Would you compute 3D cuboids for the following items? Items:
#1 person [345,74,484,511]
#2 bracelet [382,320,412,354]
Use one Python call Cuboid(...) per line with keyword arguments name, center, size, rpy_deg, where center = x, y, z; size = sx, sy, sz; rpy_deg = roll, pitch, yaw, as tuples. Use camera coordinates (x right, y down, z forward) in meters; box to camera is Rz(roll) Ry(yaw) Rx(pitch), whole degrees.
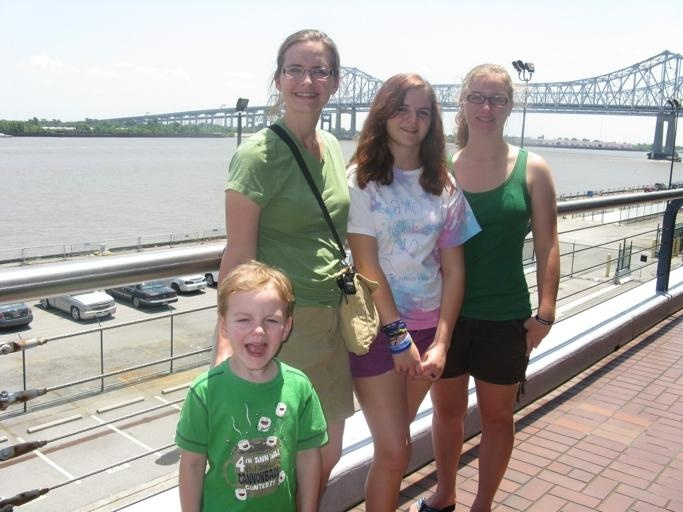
Cuboid(name="person", center=(0.233, 0.101, 2.061), size=(0.465, 1.543, 0.714), rpy_deg=(5, 16, 22))
Cuboid(name="bracelet", center=(0.191, 0.293, 1.923), size=(0.081, 0.108, 0.074), rpy_deg=(-18, -5, -45))
